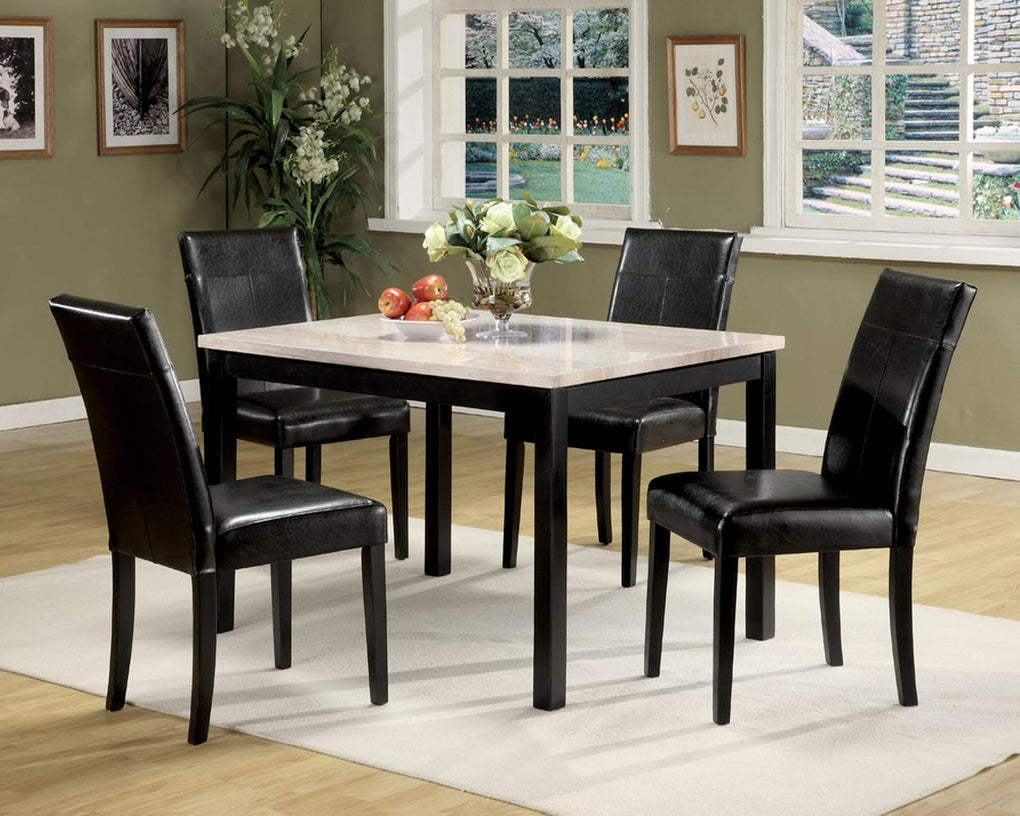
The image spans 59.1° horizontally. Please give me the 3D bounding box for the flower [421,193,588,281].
[{"bbox_3d":[-0.031,-0.493,2.596,0.350,0.186,0.334,-1,1,-39],"label":"flower"}]

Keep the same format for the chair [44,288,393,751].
[{"bbox_3d":[-0.643,0.224,2.071,0.607,0.958,0.420,-5,8,-34],"label":"chair"}]

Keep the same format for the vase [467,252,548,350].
[{"bbox_3d":[-0.016,-0.323,2.660,0.226,0.221,0.216,-4,9,-38],"label":"vase"}]

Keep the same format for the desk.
[{"bbox_3d":[0.002,-0.045,2.570,1.603,0.859,1.192,4,6,41],"label":"desk"}]

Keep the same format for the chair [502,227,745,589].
[{"bbox_3d":[0.423,-0.072,3.264,0.633,1.112,0.821,9,18,41],"label":"chair"}]

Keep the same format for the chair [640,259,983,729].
[{"bbox_3d":[0.677,0.175,2.162,0.658,1.035,0.427,-1,7,-6],"label":"chair"}]
